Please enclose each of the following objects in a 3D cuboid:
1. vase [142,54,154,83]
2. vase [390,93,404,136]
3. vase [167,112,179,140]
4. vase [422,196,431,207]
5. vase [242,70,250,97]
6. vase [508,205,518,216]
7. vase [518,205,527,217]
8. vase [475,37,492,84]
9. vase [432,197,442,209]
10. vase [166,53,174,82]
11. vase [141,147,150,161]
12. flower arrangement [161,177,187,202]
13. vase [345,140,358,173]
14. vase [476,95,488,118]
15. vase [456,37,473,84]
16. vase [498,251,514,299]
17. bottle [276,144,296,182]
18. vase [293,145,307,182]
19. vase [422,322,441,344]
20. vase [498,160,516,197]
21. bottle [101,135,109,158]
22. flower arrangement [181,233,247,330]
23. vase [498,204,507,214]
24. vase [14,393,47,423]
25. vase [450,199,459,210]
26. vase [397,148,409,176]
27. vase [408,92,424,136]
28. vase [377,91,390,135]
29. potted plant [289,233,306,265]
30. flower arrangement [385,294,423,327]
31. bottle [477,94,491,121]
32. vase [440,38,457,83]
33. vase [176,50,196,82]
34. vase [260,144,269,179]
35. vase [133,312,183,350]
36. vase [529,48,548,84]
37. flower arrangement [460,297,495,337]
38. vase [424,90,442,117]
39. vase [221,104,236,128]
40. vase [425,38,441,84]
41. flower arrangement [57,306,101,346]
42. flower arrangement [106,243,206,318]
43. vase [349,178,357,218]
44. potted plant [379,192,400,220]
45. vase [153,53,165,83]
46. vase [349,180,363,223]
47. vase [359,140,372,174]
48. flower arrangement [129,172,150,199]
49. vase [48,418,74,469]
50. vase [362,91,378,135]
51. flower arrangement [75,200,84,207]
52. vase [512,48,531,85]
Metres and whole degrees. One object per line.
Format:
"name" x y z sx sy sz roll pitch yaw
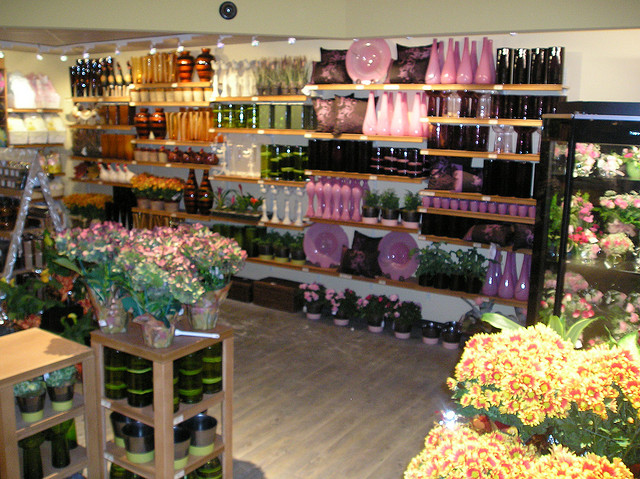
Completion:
"vase" -2.275 -2.196 6.387 0.243 0.333 0.085 13 18 39
"vase" 0.762 -1.244 4.932 0.117 0.407 0.117 -5 15 -23
"vase" -1.907 -1.442 6.287 0.185 0.335 0.065 12 18 36
"vase" 1.043 -0.374 4.864 0.078 0.104 0.046 5 15 16
"vase" -0.890 -1.808 5.729 0.081 0.310 0.207 -1 14 -9
"vase" 1.759 -0.270 4.532 0.088 0.089 0.086 0 11 2
"vase" 1.823 -0.260 4.443 0.097 0.084 0.071 4 3 18
"vase" 1.479 -1.594 4.404 0.092 0.401 0.130 -11 18 -39
"vase" 1.136 -0.364 4.871 0.094 0.094 0.089 -3 11 -9
"vase" -1.949 -2.182 6.262 0.103 0.335 0.068 10 17 32
"vase" -2.390 -1.139 6.625 0.158 0.165 0.058 11 17 33
"flower arrangement" -1.946 -0.631 6.450 0.339 0.323 0.332 2 0 -18
"vase" 0.317 -0.871 5.200 0.133 0.329 0.059 1 14 -1
"vase" 1.473 -1.207 4.474 0.099 0.192 0.043 4 15 13
"vase" 1.327 -1.628 4.500 0.128 0.411 0.134 -3 15 -17
"vase" 1.763 0.333 4.630 0.116 0.439 0.130 -13 20 -43
"bottle" -0.409 -0.868 5.617 0.230 0.378 0.094 9 16 29
"vase" -0.250 -0.847 5.546 0.159 0.384 0.148 1 14 0
"vase" 1.083 0.919 4.854 0.190 0.156 0.193 1 -2 0
"vase" 1.675 -0.545 4.425 0.147 0.325 0.059 6 15 17
"bottle" -3.051 -1.301 6.900 0.147 0.309 0.020 7 15 23
"flower arrangement" -0.576 0.225 2.546 0.363 0.464 0.400 5 -6 15
"vase" 1.674 -0.283 4.528 0.081 0.082 0.077 0 7 -4
"vase" -1.390 0.796 2.344 0.142 0.101 0.137 -2 2 31
"vase" 1.287 -0.339 4.795 0.092 0.095 0.088 0 8 7
"vase" 0.822 -0.777 4.973 0.119 0.268 0.050 4 14 10
"vase" 0.947 -1.232 4.879 0.107 0.410 0.137 -5 15 -23
"vase" 0.642 -1.271 4.993 0.133 0.413 0.130 2 14 4
"potted plant" -0.275 0.116 5.692 0.337 0.376 0.289 0 -2 -1
"flower arrangement" 0.834 0.732 5.076 0.336 0.220 0.323 -7 17 -39
"bottle" 1.486 -1.206 4.469 0.118 0.204 0.056 5 15 14
"vase" 1.193 -1.651 4.570 0.157 0.391 0.088 6 15 19
"vase" -1.700 -2.138 6.119 0.229 0.372 0.190 -3 15 -15
"vase" -0.675 -0.907 5.750 0.105 0.382 0.216 -1 14 -7
"vase" -0.779 0.430 2.341 0.189 0.112 0.184 2 0 25
"vase" 1.870 -1.474 4.215 0.148 0.286 0.055 6 15 18
"flower arrangement" 1.521 0.750 4.795 0.274 0.465 0.475 6 15 17
"vase" 1.073 -1.326 4.838 0.225 0.232 0.215 0 8 3
"vase" -1.104 -1.453 5.824 0.081 0.266 0.220 -12 19 -42
"vase" 1.066 -1.669 4.639 0.149 0.405 0.097 4 14 9
"flower arrangement" -1.738 0.614 3.486 0.225 0.253 0.227 -6 16 -28
"flower arrangement" -0.760 0.186 2.352 0.400 0.305 0.383 13 4 -14
"vase" 0.339 -0.446 5.337 0.071 0.413 0.080 3 14 9
"potted plant" 0.711 -0.324 5.207 0.217 0.273 0.243 1 1 29
"vase" -2.103 -2.180 6.302 0.175 0.334 0.083 14 19 41
"vase" 0.372 -0.410 5.294 0.138 0.436 0.185 2 14 3
"vase" 0.450 -0.868 5.166 0.160 0.331 0.078 14 19 41
"flower arrangement" -2.399 -0.710 6.494 0.362 0.349 0.320 1 10 -2
"vase" -1.331 1.009 2.478 0.156 0.213 0.148 -16 -15 31
"vase" 0.511 -1.289 5.045 0.138 0.424 0.169 -5 16 -24
"flower arrangement" -3.440 -0.514 6.957 0.090 0.044 0.117 4 12 -5
"vase" 1.747 -1.495 4.273 0.143 0.293 0.090 5 15 16
